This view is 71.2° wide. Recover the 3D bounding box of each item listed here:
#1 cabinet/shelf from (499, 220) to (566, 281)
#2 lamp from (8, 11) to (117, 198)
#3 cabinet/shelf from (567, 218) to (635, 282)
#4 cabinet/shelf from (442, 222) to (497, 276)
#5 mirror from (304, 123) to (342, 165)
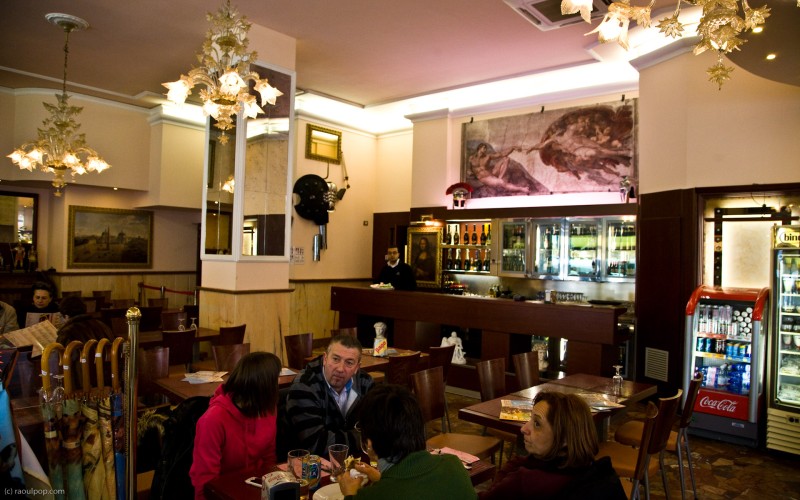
[{"bbox_3d":[2.573,-0.005,10.616,1.185,1.016,0.436,1,-2,31],"label":"cabinet/shelf"},{"bbox_3d":[-6.031,-2.245,9.883,1.508,2.618,3.588,0,0,-28],"label":"lamp"},{"bbox_3d":[3.666,-0.009,10.003,1.163,1.084,0.428,1,1,36],"label":"cabinet/shelf"},{"bbox_3d":[1.472,-0.037,11.397,1.117,1.032,0.369,1,1,25],"label":"cabinet/shelf"},{"bbox_3d":[-1.670,-2.256,11.914,0.999,0.804,0.086,1,0,-42],"label":"mirror"}]
